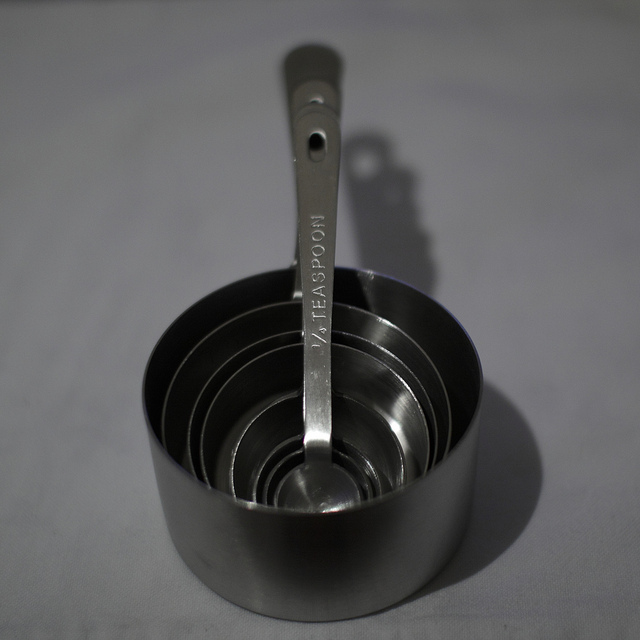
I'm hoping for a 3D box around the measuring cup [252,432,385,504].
[{"bbox_3d":[0.003,0.143,0.850,0.065,0.036,0.124,1,-6,0],"label":"measuring cup"}]

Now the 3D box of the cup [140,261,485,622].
[{"bbox_3d":[-0.009,0.116,0.770,0.302,0.209,0.314,1,32,0],"label":"cup"}]
